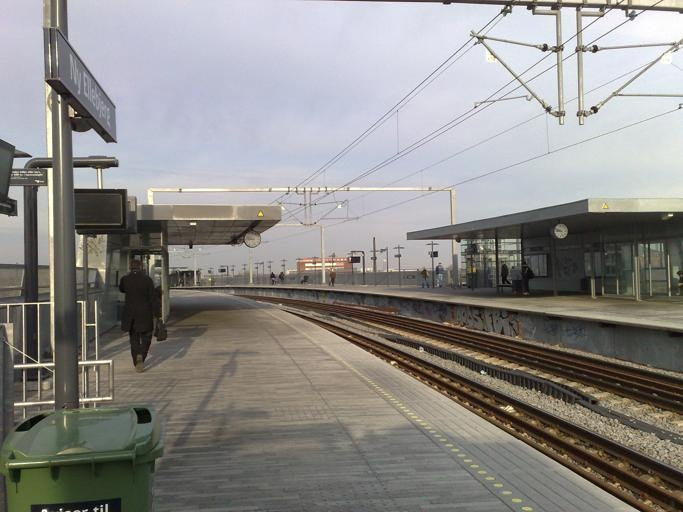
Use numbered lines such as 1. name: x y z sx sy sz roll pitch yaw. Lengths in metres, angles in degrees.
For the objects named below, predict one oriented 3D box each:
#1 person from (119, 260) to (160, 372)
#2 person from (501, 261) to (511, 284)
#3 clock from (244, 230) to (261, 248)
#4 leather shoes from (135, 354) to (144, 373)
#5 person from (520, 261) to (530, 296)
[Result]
1. person: -3.611 1.063 11.220 0.690 1.402 0.473 2 1 -15
2. person: 8.746 0.942 33.464 0.451 1.092 1.764 3 0 14
3. clock: -3.216 -0.617 22.633 0.482 0.470 0.827 3 0 -16
4. leather shoes: -3.588 1.915 11.180 0.128 0.307 0.122 0 -12 -7
5. person: 8.667 1.034 29.538 0.440 1.499 1.646 3 0 17
